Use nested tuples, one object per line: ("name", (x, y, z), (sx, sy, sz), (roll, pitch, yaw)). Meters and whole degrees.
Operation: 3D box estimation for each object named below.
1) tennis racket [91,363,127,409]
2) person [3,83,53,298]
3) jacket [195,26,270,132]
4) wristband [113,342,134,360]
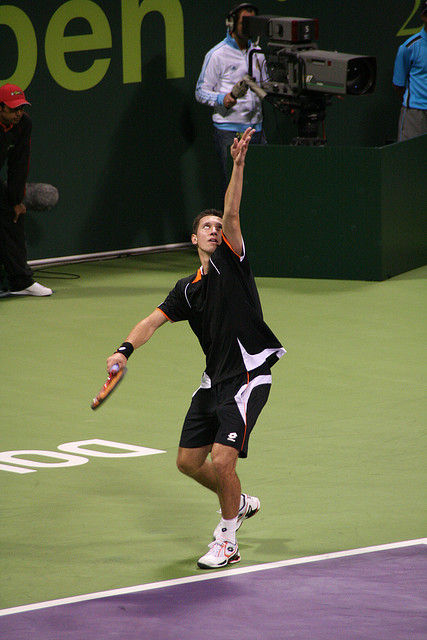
("tennis racket", (-0.441, 0.278, 2.641), (0.144, 0.177, 0.212), (-3, 10, -7))
("person", (-2.504, -1.599, 8.116), (0.539, 2.641, 0.636), (-8, 12, -29))
("jacket", (0.344, -3.543, 9.347), (1.321, 1.831, 1.135), (-16, 27, -30))
("wristband", (-0.406, 0.138, 2.816), (0.060, 0.074, 0.040), (14, -5, 28))
